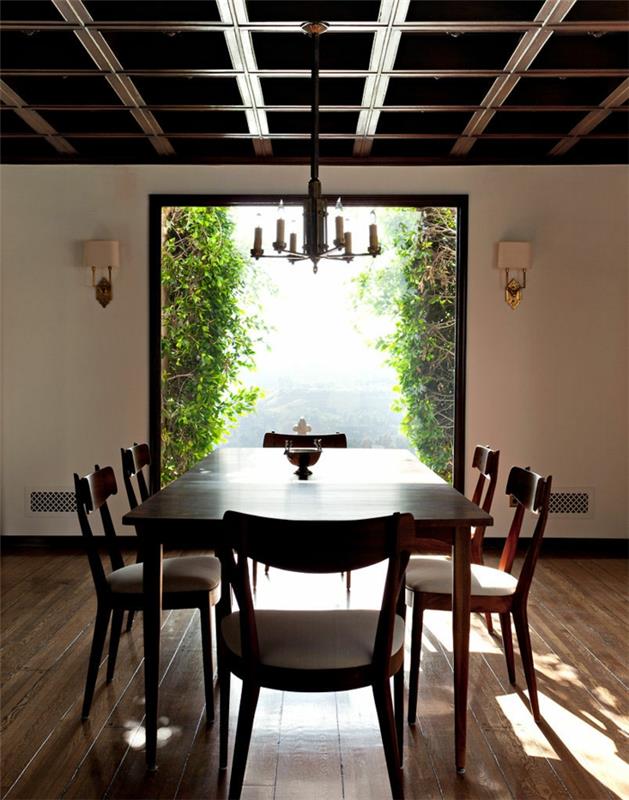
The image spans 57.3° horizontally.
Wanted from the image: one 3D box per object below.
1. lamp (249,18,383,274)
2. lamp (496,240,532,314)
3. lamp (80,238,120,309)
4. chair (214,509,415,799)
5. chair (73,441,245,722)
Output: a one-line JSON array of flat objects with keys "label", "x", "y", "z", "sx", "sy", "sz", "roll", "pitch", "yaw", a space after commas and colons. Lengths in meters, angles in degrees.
[{"label": "lamp", "x": 0.003, "y": -0.971, "z": 2.194, "sx": 0.416, "sy": 0.866, "sz": 0.457, "roll": -5, "pitch": 13, "yaw": -21}, {"label": "lamp", "x": 1.304, "y": -0.822, "z": 3.791, "sx": 0.203, "sy": 0.448, "sz": 0.121, "roll": 6, "pitch": 13, "yaw": 34}, {"label": "lamp", "x": -1.396, "y": -0.851, "z": 3.813, "sx": 0.216, "sy": 0.502, "sz": 0.159, "roll": -4, "pitch": 33, "yaw": -19}, {"label": "chair", "x": 0.010, "y": 0.494, "z": 1.300, "sx": 0.456, "sy": 0.609, "sz": 0.405, "roll": 1, "pitch": 7, "yaw": -8}, {"label": "chair", "x": -0.585, "y": 0.595, "z": 2.163, "sx": 0.633, "sy": 1.148, "sz": 0.635, "roll": 0, "pitch": 0, "yaw": -4}]
